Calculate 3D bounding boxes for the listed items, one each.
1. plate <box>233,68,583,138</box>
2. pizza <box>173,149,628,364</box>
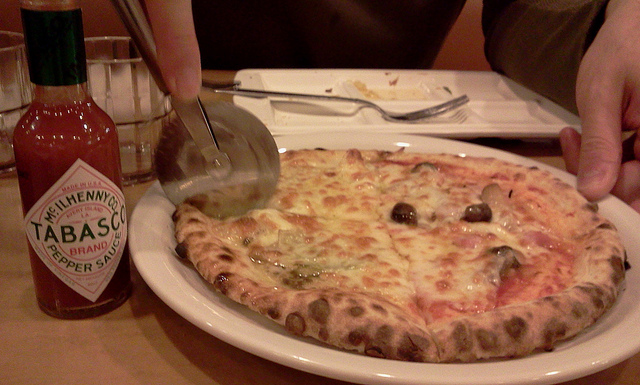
[{"bbox_3d":[0.307,-0.336,1.835,0.882,0.086,0.518,-1,28,-6],"label":"plate"},{"bbox_3d":[0.218,0.161,1.097,0.612,0.066,0.532,0,27,-2],"label":"pizza"}]
